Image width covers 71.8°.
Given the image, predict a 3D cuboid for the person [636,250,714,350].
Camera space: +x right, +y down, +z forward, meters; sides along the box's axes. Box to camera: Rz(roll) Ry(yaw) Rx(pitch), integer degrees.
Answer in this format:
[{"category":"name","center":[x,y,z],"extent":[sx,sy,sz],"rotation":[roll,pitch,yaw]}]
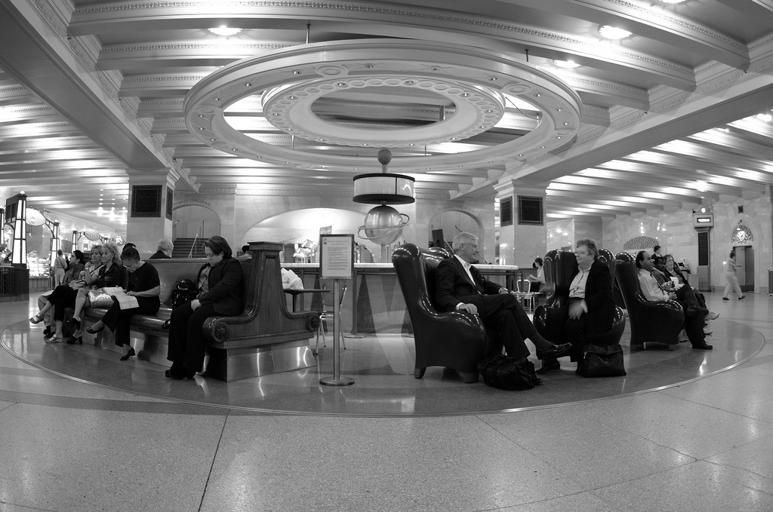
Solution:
[{"category":"person","center":[4.182,0.574,7.809],"extent":[0.820,1.246,0.535],"rotation":[-13,-3,31]}]

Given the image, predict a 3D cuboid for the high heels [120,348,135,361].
[{"category":"high heels","center":[-3.289,1.238,6.769],"extent":[0.156,0.132,0.309],"rotation":[-2,7,-15]}]

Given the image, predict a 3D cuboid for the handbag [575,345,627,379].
[{"category":"handbag","center":[2.510,1.140,6.006],"extent":[0.247,0.327,0.481],"rotation":[9,-18,-43]}]

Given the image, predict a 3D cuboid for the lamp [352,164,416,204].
[{"category":"lamp","center":[-0.031,-1.213,9.642],"extent":[1.649,0.377,1.566],"rotation":[1,0,7]}]

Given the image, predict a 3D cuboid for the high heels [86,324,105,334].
[{"category":"high heels","center":[-4.178,1.028,7.653],"extent":[0.359,0.139,0.121],"rotation":[2,-24,42]}]

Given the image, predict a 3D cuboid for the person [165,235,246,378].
[{"category":"person","center":[-2.058,0.564,6.068],"extent":[0.909,1.522,0.676],"rotation":[-7,10,-43]}]

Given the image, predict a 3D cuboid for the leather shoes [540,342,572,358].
[{"category":"leather shoes","center":[1.910,1.025,5.870],"extent":[0.478,0.163,0.167],"rotation":[-2,-11,-18]}]

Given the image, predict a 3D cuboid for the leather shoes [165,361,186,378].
[{"category":"leather shoes","center":[-2.294,1.246,5.919],"extent":[0.119,0.200,0.319],"rotation":[5,-1,-37]}]

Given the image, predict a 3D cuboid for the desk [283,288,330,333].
[{"category":"desk","center":[-1.180,0.700,6.914],"extent":[0.709,0.530,0.682],"rotation":[0,1,36]}]

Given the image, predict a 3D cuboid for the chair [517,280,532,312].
[{"category":"chair","center":[2.733,0.764,10.587],"extent":[0.491,0.559,0.495],"rotation":[0,1,14]}]

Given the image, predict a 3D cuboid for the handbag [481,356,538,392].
[{"category":"handbag","center":[1.288,1.209,5.524],"extent":[0.624,0.307,0.292],"rotation":[1,7,8]}]

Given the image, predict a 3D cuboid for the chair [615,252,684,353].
[{"category":"chair","center":[4.079,0.648,7.763],"extent":[1.186,1.304,1.149],"rotation":[-1,-2,19]}]

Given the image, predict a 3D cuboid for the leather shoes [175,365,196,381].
[{"category":"leather shoes","center":[-2.189,1.281,5.829],"extent":[0.181,0.144,0.279],"rotation":[-1,-9,8]}]

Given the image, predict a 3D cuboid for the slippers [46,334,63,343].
[{"category":"slippers","center":[-4.914,1.206,7.928],"extent":[0.116,0.102,0.236],"rotation":[5,7,21]}]

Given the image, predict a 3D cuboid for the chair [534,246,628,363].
[{"category":"chair","center":[2.319,0.519,6.513],"extent":[0.919,1.440,0.903],"rotation":[-11,9,-25]}]

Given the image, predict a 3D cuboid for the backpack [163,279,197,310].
[{"category":"backpack","center":[-2.617,0.484,6.785],"extent":[0.434,0.385,0.332],"rotation":[-16,-19,39]}]

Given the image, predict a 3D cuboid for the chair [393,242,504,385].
[{"category":"chair","center":[0.787,0.582,6.291],"extent":[1.310,1.325,1.300],"rotation":[1,1,20]}]

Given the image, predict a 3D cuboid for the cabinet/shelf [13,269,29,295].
[{"category":"cabinet/shelf","center":[-10.432,0.711,15.249],"extent":[0.184,0.802,0.479],"rotation":[0,7,-1]}]

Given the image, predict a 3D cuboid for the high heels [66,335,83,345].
[{"category":"high heels","center":[-4.606,1.235,7.893],"extent":[0.319,0.114,0.105],"rotation":[4,-3,45]}]
